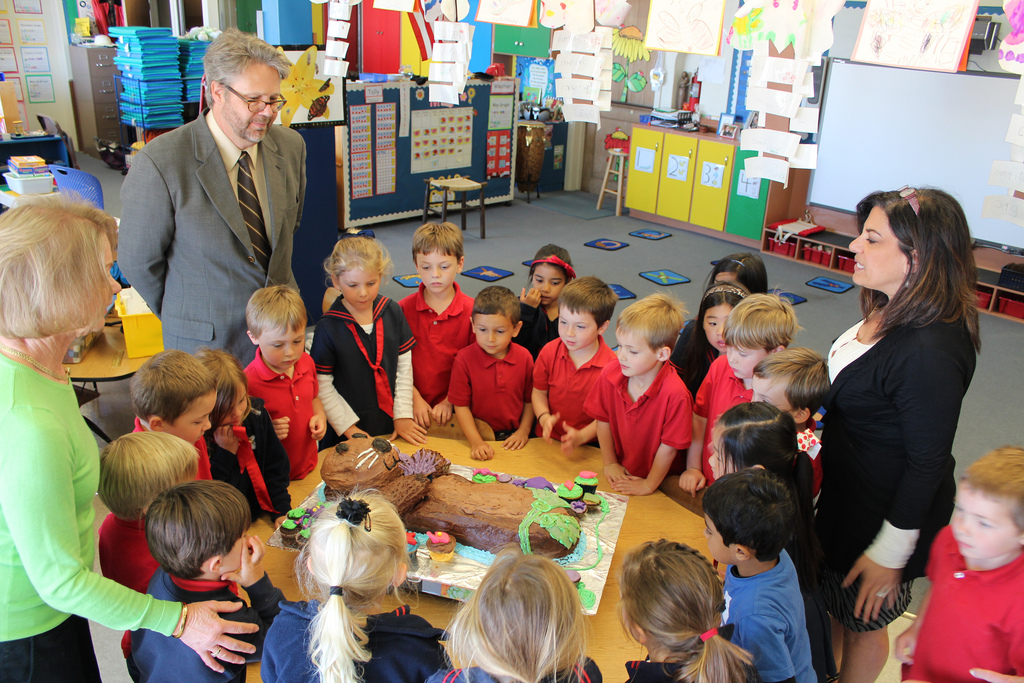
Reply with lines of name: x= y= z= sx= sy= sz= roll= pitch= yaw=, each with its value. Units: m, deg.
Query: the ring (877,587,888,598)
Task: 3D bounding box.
ring: x=1.200 y=0.815 z=2.310 sx=0.031 sy=0.028 sz=0.022 roll=-1 pitch=14 yaw=-8

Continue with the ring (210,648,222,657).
ring: x=-0.793 y=0.834 z=1.909 sx=0.022 sy=0.021 sz=0.005 roll=0 pitch=-16 yaw=-10

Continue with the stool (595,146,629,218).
stool: x=1.357 y=-1.985 z=8.861 sx=0.547 sy=0.753 sz=0.577 roll=9 pitch=25 yaw=19

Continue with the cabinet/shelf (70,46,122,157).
cabinet/shelf: x=-5.164 y=-3.045 z=8.811 sx=0.529 sy=1.524 sz=0.744 roll=0 pitch=4 yaw=-39

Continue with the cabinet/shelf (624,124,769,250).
cabinet/shelf: x=2.011 y=-1.768 z=8.321 sx=1.800 sy=1.159 sz=0.581 roll=8 pitch=-4 yaw=-12

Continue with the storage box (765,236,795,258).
storage box: x=2.852 y=-0.987 z=7.534 sx=0.230 sy=0.112 sz=0.178 roll=13 pitch=31 yaw=27

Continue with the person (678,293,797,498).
person: x=0.898 y=0.339 z=2.780 sx=0.379 sy=1.017 sz=0.364 roll=16 pitch=28 yaw=37

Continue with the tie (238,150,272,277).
tie: x=-1.070 y=-0.523 z=2.990 sx=0.072 sy=0.523 sz=0.061 roll=-11 pitch=5 yaw=0
